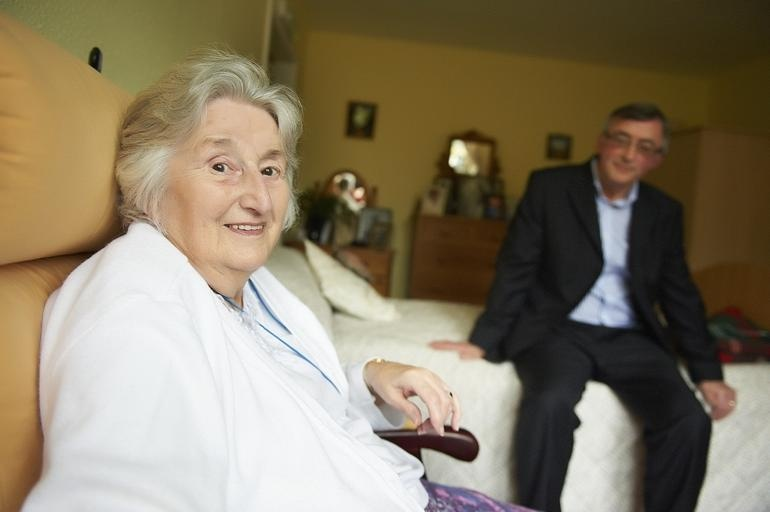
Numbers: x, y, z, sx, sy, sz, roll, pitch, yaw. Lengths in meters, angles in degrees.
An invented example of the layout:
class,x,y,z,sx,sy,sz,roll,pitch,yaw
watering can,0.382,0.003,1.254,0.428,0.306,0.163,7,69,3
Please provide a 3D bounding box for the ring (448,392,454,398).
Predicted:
class,x,y,z,sx,sy,sz,roll,pitch,yaw
ring,0.145,0.306,1.285,0.010,0.010,0.009,-3,-3,9

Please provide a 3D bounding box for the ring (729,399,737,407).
class,x,y,z,sx,sy,sz,roll,pitch,yaw
ring,0.922,0.390,1.548,0.015,0.016,0.006,4,6,4

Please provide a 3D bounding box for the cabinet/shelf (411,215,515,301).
class,x,y,z,sx,sy,sz,roll,pitch,yaw
cabinet/shelf,0.317,0.016,2.314,0.102,0.290,0.298,25,-8,-34

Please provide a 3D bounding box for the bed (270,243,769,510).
class,x,y,z,sx,sy,sz,roll,pitch,yaw
bed,0.395,0.294,1.819,1.144,0.722,0.739,-1,8,-4
